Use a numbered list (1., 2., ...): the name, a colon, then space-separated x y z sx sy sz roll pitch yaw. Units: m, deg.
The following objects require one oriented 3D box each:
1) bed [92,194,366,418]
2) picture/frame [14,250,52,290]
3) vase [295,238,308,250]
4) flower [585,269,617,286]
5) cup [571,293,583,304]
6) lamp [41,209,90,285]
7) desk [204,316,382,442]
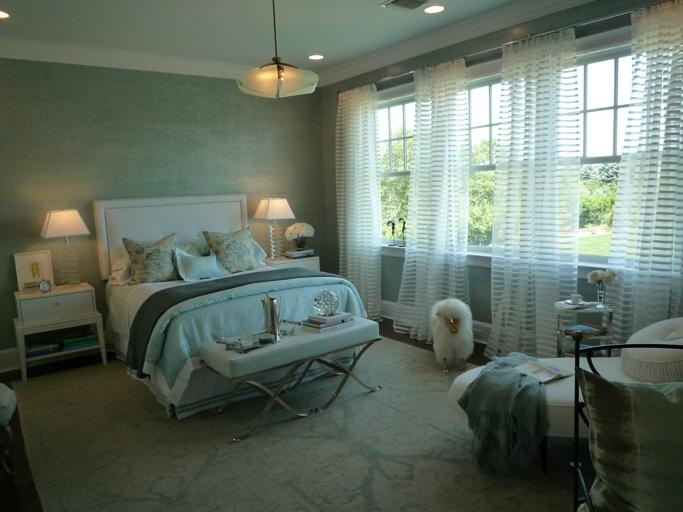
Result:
1. bed: -1.366 0.335 4.970 2.084 1.513 2.374 -11 13 -39
2. picture/frame: -3.062 0.134 5.069 0.340 0.406 0.030 -12 3 -34
3. vase: -0.492 -0.161 6.571 0.128 0.133 0.137 -1 -2 41
4. flower: 2.045 0.162 4.041 0.153 0.085 0.150 -1 -1 -2
5. cup: 1.917 0.340 4.175 0.100 0.076 0.079 5 -3 -25
6. lamp: -2.736 -0.101 5.128 0.420 0.733 0.389 -6 7 -26
7. desk: -0.371 0.891 4.113 1.391 0.568 0.534 -8 9 -38
